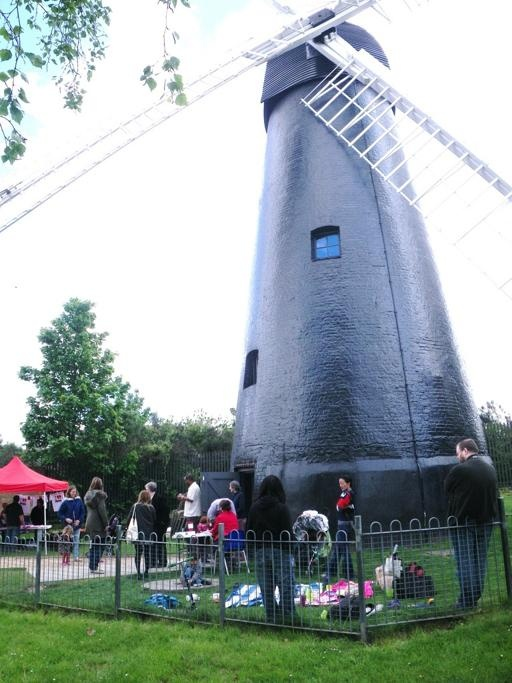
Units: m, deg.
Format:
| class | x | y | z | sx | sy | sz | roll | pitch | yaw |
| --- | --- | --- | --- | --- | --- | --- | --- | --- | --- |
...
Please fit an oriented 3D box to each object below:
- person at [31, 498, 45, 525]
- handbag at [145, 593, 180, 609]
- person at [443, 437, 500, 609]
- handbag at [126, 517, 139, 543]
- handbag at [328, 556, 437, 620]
| class | x | y | z | sx | sy | sz | roll | pitch | yaw |
| --- | --- | --- | --- | --- | --- | --- | --- | --- | --- |
| person | -6.517 | 5.124 | 16.679 | 0.352 | 0.743 | 0.989 | 4 | -19 | -21 |
| handbag | -1.020 | 2.842 | 6.061 | 0.247 | 0.072 | 0.165 | 0 | -3 | 9 |
| person | 2.192 | 1.771 | 5.596 | 0.524 | 1.600 | 0.857 | -9 | -19 | 18 |
| handbag | -1.912 | 2.905 | 8.631 | 0.161 | 0.310 | 0.436 | 3 | -19 | -19 |
| handbag | 1.200 | 2.393 | 5.224 | 0.935 | 0.351 | 0.572 | -1 | -8 | -23 |
